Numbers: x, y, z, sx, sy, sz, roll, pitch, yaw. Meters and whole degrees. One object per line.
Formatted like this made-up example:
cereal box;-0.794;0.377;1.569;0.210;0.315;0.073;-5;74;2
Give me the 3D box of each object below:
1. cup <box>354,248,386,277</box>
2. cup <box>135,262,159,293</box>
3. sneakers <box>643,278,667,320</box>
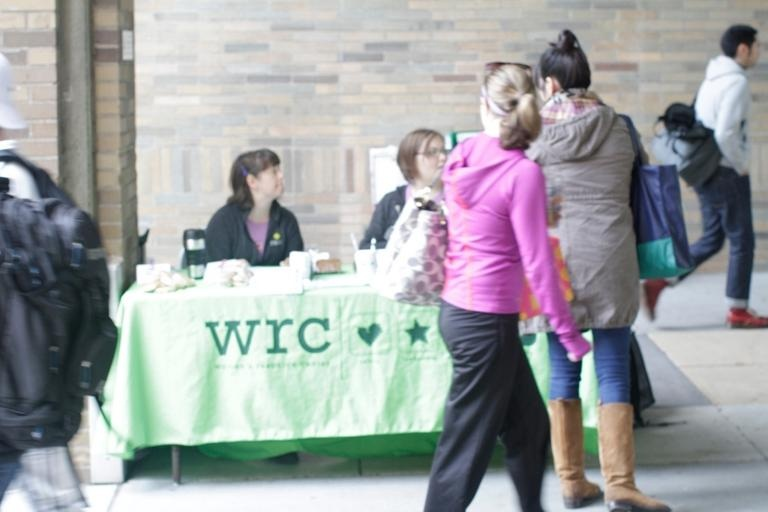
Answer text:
cup;-0.079;0.042;9.622;0.190;0.168;0.136;0;-5;11
cup;-1.467;0.134;9.612;0.209;0.177;0.142;1;0;-1
sneakers;1.777;0.299;10.238;0.134;0.347;0.158;1;14;8
